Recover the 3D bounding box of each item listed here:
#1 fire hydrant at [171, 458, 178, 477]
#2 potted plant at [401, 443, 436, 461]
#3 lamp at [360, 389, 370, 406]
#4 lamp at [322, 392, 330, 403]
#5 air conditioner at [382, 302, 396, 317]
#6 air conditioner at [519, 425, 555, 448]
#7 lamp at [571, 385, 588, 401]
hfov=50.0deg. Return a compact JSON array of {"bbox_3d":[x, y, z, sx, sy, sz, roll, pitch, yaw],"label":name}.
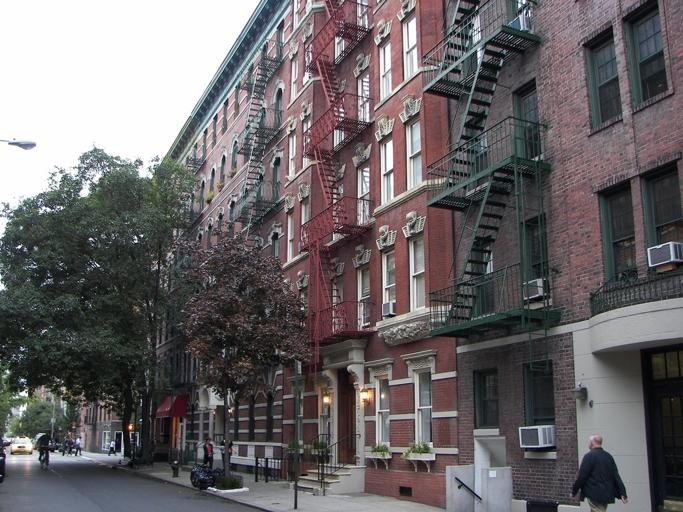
[{"bbox_3d":[-8.112,10.434,36.072,0.325,0.753,0.855,4,-20,-14],"label":"fire hydrant"},{"bbox_3d":[2.646,6.551,24.669,0.325,0.653,1.311,16,-26,-41],"label":"potted plant"},{"bbox_3d":[0.934,5.356,27.982,0.530,0.650,0.232,-17,-24,40],"label":"lamp"},{"bbox_3d":[-0.604,5.964,30.858,0.306,0.559,0.343,4,-12,-16],"label":"lamp"},{"bbox_3d":[1.738,1.990,27.025,0.349,0.556,0.610,11,-23,-31],"label":"air conditioner"},{"bbox_3d":[5.604,5.037,20.755,0.659,0.598,0.724,8,-21,-27],"label":"air conditioner"},{"bbox_3d":[6.536,3.745,20.119,0.296,0.499,0.402,6,-8,-23],"label":"lamp"}]
